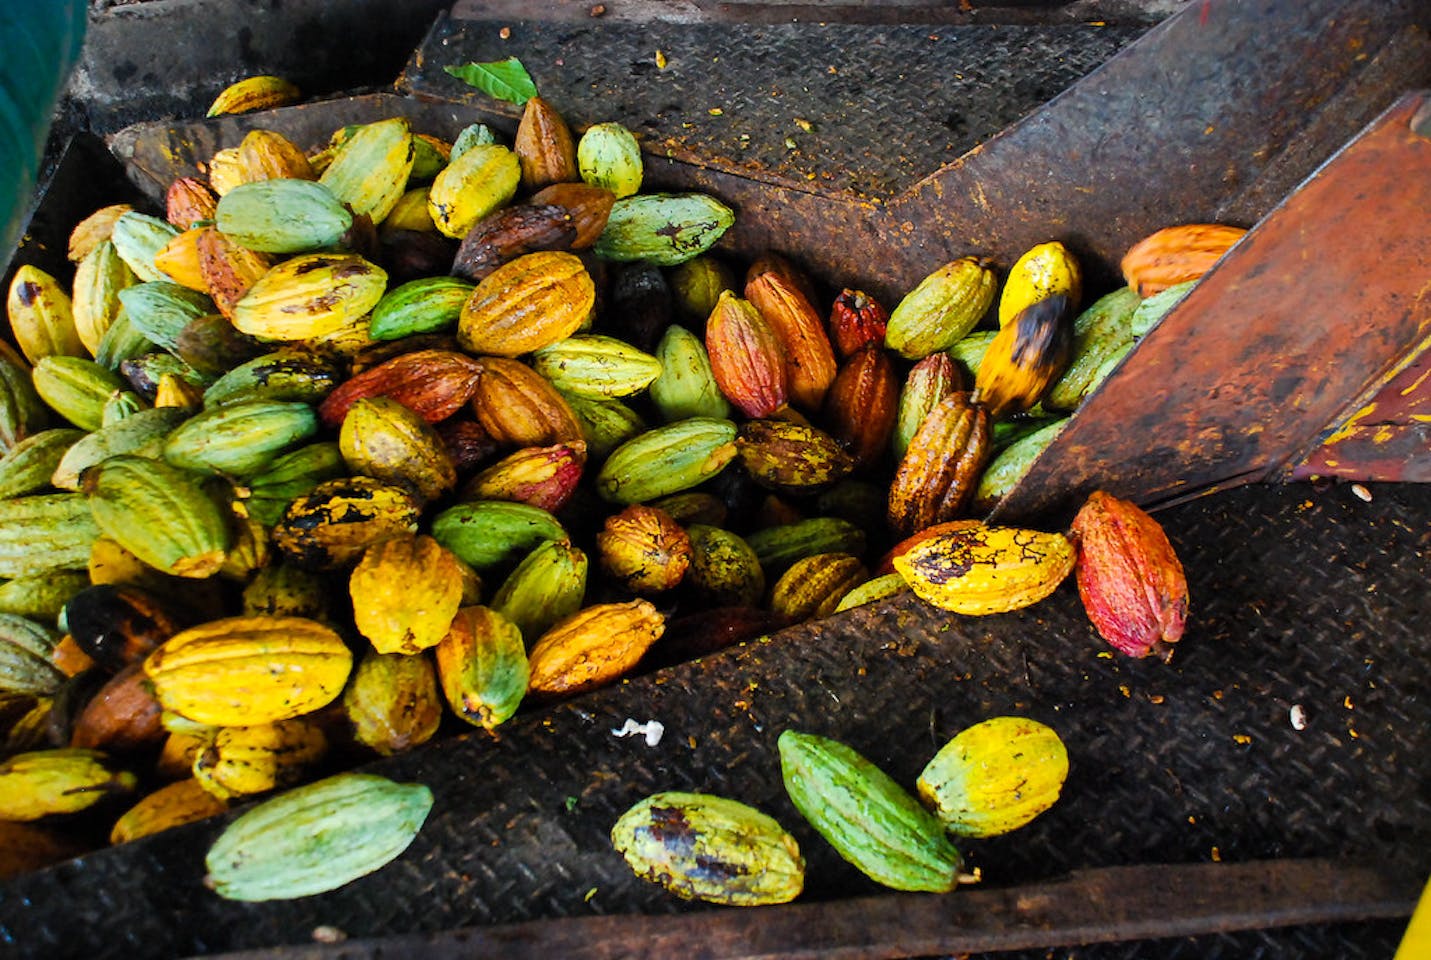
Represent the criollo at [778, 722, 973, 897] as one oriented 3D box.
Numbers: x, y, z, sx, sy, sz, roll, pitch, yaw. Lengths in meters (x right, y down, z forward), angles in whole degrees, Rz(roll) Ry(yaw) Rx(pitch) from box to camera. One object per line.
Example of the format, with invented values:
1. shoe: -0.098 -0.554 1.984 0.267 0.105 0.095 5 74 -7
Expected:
1. criollo: 0.340 0.749 2.683 0.458 0.157 0.185 35 80 24
